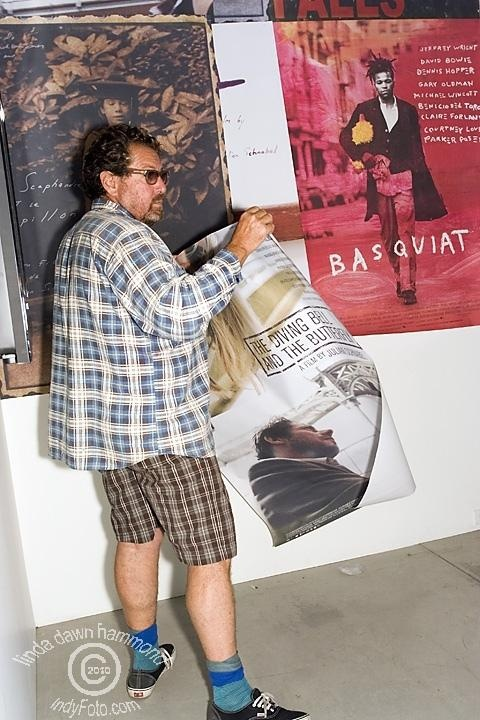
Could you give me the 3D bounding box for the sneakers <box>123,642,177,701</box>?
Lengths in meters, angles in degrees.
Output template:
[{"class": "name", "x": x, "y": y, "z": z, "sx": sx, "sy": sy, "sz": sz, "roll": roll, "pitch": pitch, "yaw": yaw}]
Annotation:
[{"class": "sneakers", "x": -0.246, "y": 0.850, "z": 1.745, "sx": 0.065, "sy": 0.051, "sz": 0.147, "roll": 2, "pitch": 19, "yaw": 12}]
